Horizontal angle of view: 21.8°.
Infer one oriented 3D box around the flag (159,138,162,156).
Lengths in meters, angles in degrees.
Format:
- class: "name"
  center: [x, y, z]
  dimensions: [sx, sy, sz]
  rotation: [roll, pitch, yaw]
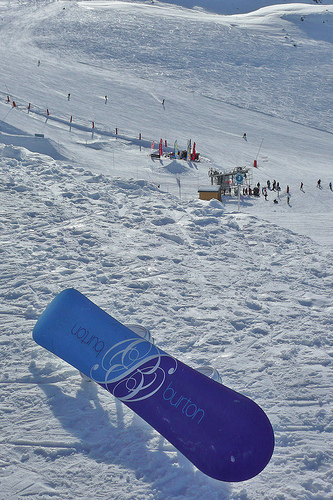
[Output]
- class: "flag"
  center: [-0.297, -4.786, 40.396]
  dimensions: [0.079, 0.811, 0.063]
  rotation: [-1, -7, 16]
